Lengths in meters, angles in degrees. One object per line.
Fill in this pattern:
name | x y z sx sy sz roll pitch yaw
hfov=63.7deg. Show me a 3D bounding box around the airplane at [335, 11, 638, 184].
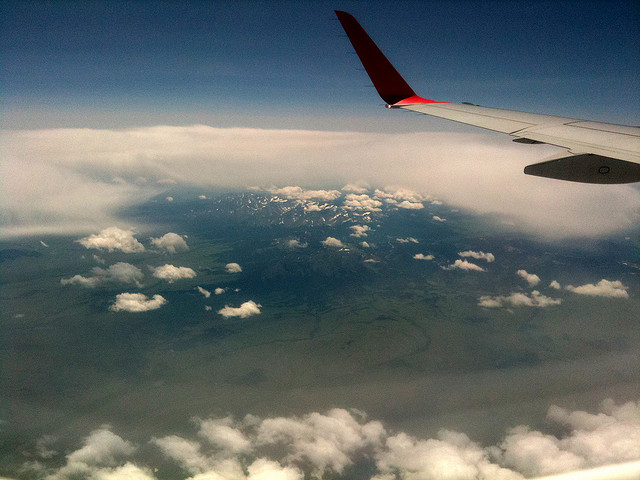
airplane | 24.695 -21.475 76.358 46.268 24.484 12.517 2 17 2
